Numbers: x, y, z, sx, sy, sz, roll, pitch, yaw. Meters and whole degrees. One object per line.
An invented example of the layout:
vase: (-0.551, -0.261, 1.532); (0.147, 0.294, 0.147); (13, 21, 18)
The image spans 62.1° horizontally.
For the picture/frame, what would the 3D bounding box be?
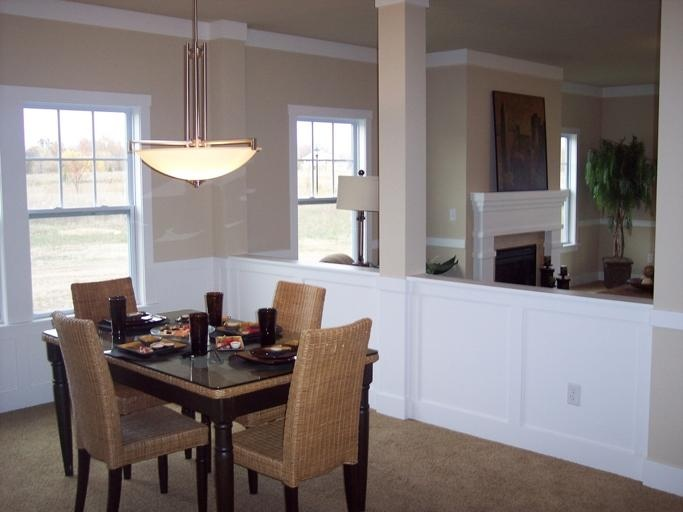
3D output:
picture/frame: (2.282, -1.497, 7.337); (1.294, 1.441, 0.107); (-5, 6, -44)

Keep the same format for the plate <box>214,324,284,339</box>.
plate: (-0.611, 0.447, 3.413); (0.161, 0.031, 0.217); (-6, 11, -40)

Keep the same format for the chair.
chair: (-0.864, 0.807, 3.452); (1.619, 1.096, 1.992); (-7, 12, -29)

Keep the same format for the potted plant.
potted plant: (4.145, -0.628, 8.514); (0.925, 2.287, 1.634); (5, 12, 29)
